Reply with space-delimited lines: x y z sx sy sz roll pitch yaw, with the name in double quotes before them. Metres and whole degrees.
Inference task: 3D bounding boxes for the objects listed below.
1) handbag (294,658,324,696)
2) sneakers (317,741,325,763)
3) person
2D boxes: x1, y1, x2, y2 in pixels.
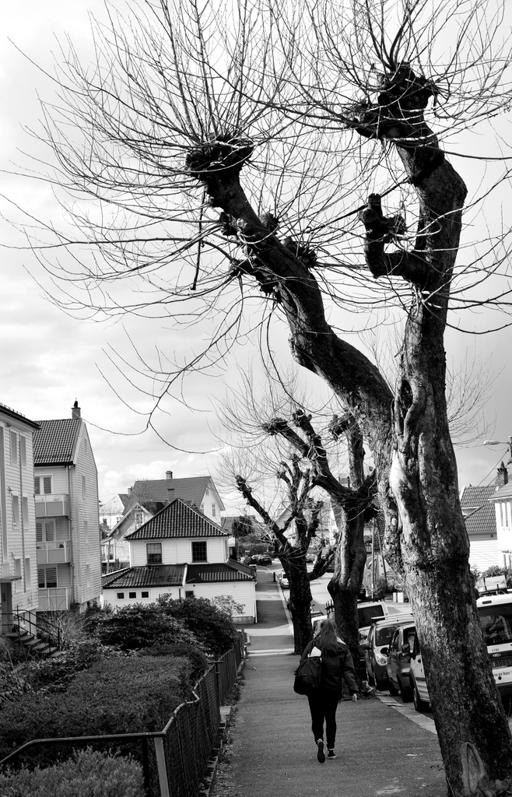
"handbag" 0.562 3.118 9.150 0.329 0.413 0.238 -5 -14 24
"sneakers" 0.693 3.821 8.816 0.077 0.233 0.095 -4 -15 6
"person" 0.771 3.284 9.253 0.675 1.485 0.786 -1 -13 7
